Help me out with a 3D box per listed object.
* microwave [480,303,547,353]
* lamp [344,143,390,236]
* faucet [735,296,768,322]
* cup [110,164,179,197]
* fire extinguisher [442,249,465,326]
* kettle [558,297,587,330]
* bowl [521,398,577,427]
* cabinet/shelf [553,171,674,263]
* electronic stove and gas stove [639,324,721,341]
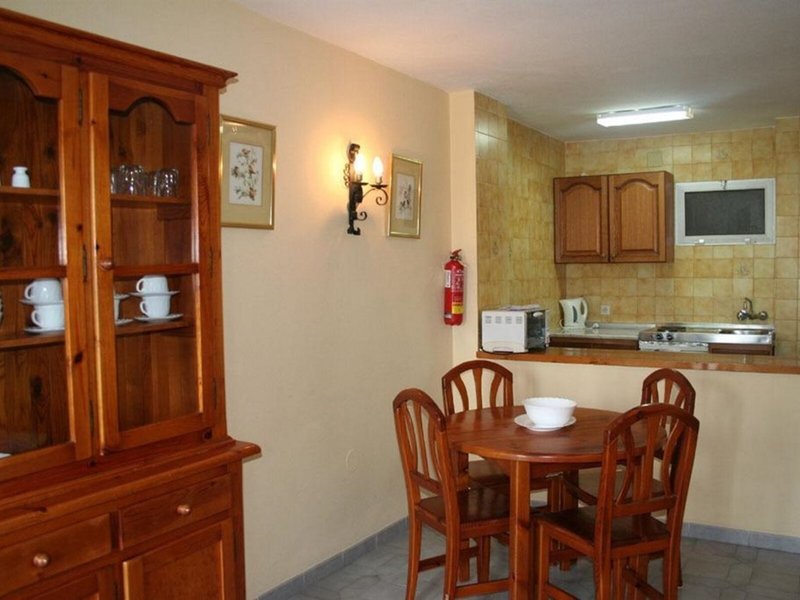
[{"bbox_3d":[0.790,0.208,4.529,0.308,0.248,0.469,-1,1,23],"label":"microwave"},{"bbox_3d":[-0.205,-0.658,3.811,0.243,0.541,0.398,-1,4,-1],"label":"lamp"},{"bbox_3d":[3.114,0.091,5.650,0.252,0.207,0.166,1,5,28],"label":"faucet"},{"bbox_3d":[-0.921,-0.432,2.311,0.159,0.100,0.092,3,3,-4],"label":"cup"},{"bbox_3d":[0.389,-0.082,4.507,0.170,0.539,0.150,-2,5,-10],"label":"fire extinguisher"},{"bbox_3d":[1.662,0.137,6.103,0.313,0.309,0.226,1,-2,-4],"label":"kettle"},{"bbox_3d":[0.755,0.570,3.229,0.237,0.128,0.281,0,4,16],"label":"bowl"},{"bbox_3d":[1.974,-0.751,5.787,0.835,0.671,0.328,0,1,29],"label":"cabinet/shelf"},{"bbox_3d":[2.422,0.273,5.506,0.598,0.085,0.718,1,4,28],"label":"electronic stove and gas stove"}]
